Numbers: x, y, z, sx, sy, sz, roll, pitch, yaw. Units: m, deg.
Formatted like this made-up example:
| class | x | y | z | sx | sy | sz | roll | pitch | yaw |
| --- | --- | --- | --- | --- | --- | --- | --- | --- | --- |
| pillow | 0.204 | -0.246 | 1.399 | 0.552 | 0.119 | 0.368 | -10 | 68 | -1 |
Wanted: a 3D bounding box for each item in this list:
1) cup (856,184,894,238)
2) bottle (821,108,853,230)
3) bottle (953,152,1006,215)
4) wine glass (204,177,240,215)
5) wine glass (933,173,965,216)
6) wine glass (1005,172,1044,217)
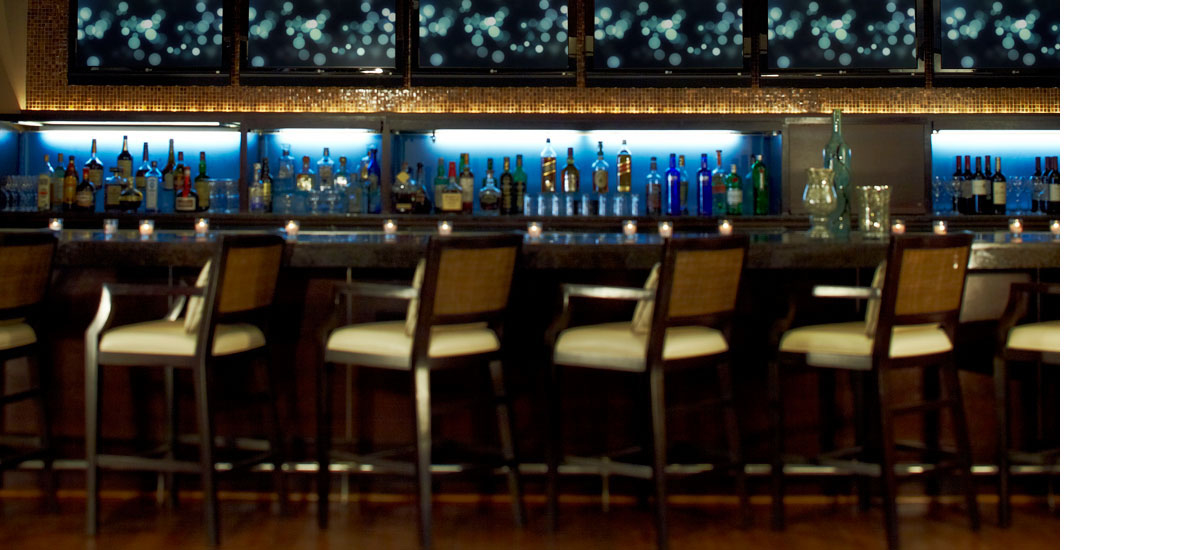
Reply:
| class | x | y | z | sx | sy | sz | roll | pitch | yaw |
| --- | --- | --- | --- | --- | --- | --- | --- | --- | --- |
| cup | 1.955 | -0.476 | 7.465 | 0.366 | 0.389 | 0.356 | -1 | 2 | 0 |
| bottle | 1.625 | -0.724 | 7.313 | 0.170 | 0.804 | 0.242 | 1 | 11 | 10 |
| bottle | 3.087 | -0.755 | 8.647 | 0.423 | 0.450 | 0.459 | 3 | 11 | 19 |
| wine glass | -3.076 | -0.656 | 8.706 | 0.336 | 0.266 | 0.285 | 0 | 1 | -14 |
| wine glass | 2.800 | -0.670 | 8.652 | 0.331 | 0.310 | 0.305 | -1 | 3 | 5 |
| wine glass | 3.445 | -0.664 | 8.661 | 0.387 | 0.363 | 0.359 | 1 | 0 | 16 |
